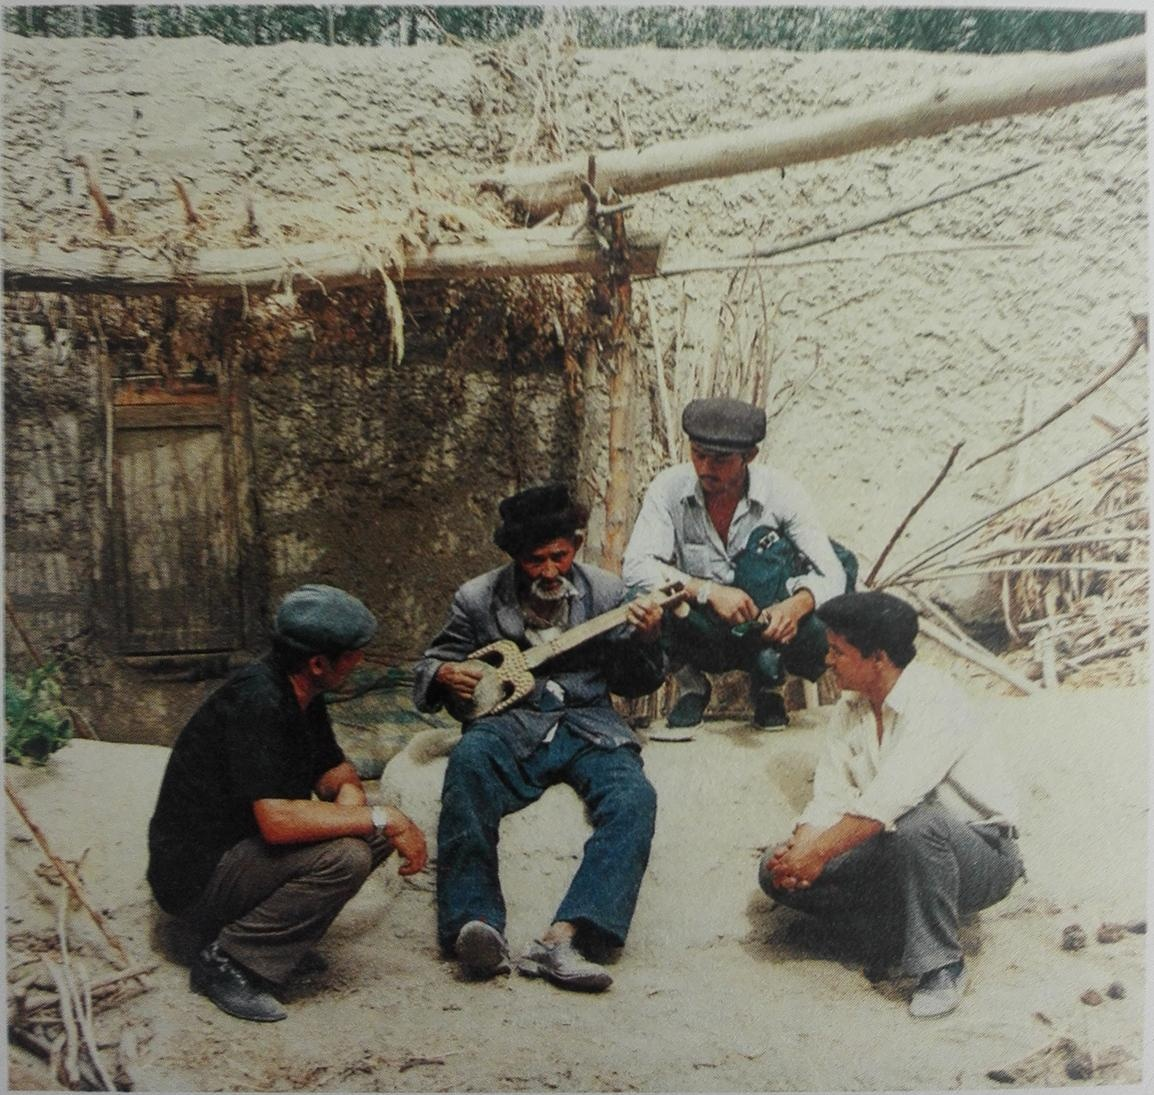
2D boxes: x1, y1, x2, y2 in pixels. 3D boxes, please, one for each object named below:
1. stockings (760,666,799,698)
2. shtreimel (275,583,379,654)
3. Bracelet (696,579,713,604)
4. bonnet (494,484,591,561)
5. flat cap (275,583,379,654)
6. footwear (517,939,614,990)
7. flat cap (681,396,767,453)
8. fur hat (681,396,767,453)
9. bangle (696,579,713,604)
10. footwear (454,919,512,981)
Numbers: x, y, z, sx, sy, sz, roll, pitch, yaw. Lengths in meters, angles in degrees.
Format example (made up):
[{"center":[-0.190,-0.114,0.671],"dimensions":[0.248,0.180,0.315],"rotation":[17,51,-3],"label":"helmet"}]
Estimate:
[{"center":[0.798,0.526,6.892],"dimensions":[0.119,0.118,0.029],"rotation":[35,6,-8],"label":"stockings"},{"center":[-0.917,0.260,6.311],"dimensions":[0.334,0.207,0.183],"rotation":[3,14,8],"label":"shtreimel"},{"center":[0.507,0.169,6.856],"dimensions":[0.053,0.089,0.020],"rotation":[14,-3,-10],"label":"Bracelet"},{"center":[-0.152,-0.113,6.632],"dimensions":[0.272,0.165,0.303],"rotation":[-25,0,5],"label":"bonnet"},{"center":[-0.917,0.260,6.311],"dimensions":[0.334,0.207,0.183],"rotation":[3,14,8],"label":"flat cap"},{"center":[-0.053,1.542,6.489],"dimensions":[0.286,0.126,0.174],"rotation":[11,30,17],"label":"footwear"},{"center":[0.580,-0.489,6.926],"dimensions":[0.264,0.097,0.215],"rotation":[3,57,-27],"label":"flat cap"},{"center":[0.582,-0.490,6.938],"dimensions":[0.264,0.097,0.215],"rotation":[3,57,-27],"label":"fur hat"},{"center":[0.507,0.168,6.862],"dimensions":[0.053,0.089,0.020],"rotation":[14,-3,-10],"label":"bangle"},{"center":[-0.338,1.473,6.536],"dimensions":[0.215,0.215,0.210],"rotation":[2,8,7],"label":"footwear"}]
